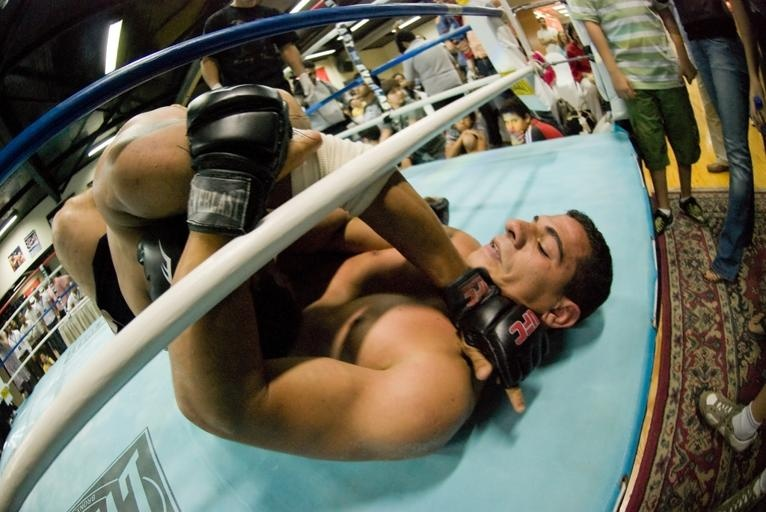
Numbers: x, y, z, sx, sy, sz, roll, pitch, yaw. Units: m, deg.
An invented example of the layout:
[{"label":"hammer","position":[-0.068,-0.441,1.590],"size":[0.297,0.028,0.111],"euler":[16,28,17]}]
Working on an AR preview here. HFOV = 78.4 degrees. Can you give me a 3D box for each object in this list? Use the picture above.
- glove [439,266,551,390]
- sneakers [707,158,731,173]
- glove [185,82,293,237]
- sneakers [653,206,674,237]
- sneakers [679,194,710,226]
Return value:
[{"label":"glove","position":[0.386,0.250,1.825],"size":[0.296,0.461,0.211],"euler":[-36,-14,-23]},{"label":"sneakers","position":[1.500,-0.402,2.099],"size":[0.067,0.060,0.129],"euler":[1,6,37]},{"label":"glove","position":[-0.425,-0.278,1.454],"size":[0.277,0.455,0.183],"euler":[-2,-15,11]},{"label":"sneakers","position":[1.227,-0.162,2.082],"size":[0.062,0.071,0.178],"euler":[11,46,44]},{"label":"sneakers","position":[1.391,-0.209,2.153],"size":[0.059,0.176,0.075],"euler":[-47,-25,19]}]
